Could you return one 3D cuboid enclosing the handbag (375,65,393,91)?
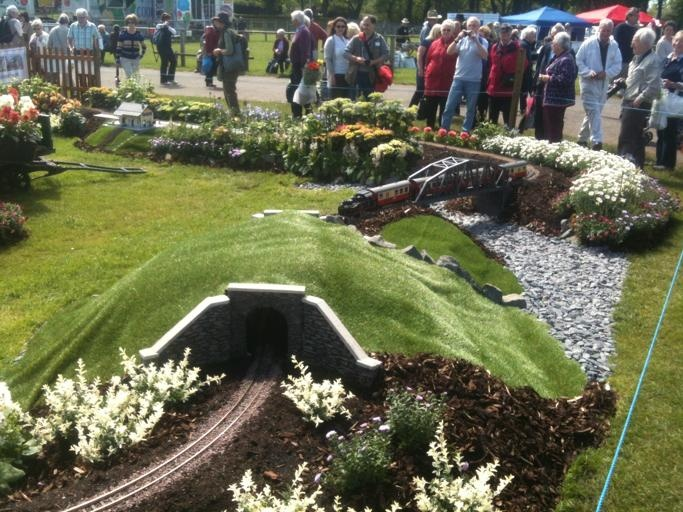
[{"bbox_3d":[0.867,-4.050,21.560,0.208,0.536,0.476,28,23,35],"label":"handbag"}]
